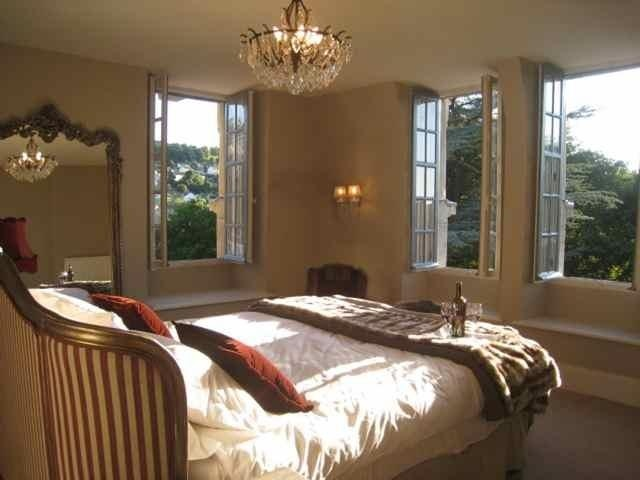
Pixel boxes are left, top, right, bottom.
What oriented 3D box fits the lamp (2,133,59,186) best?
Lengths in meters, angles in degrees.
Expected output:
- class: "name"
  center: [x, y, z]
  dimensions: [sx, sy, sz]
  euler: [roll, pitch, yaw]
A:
- class: "lamp"
  center: [-2.999, -0.821, 5.229]
  dimensions: [0.391, 0.606, 0.410]
  euler: [0, 3, -19]
